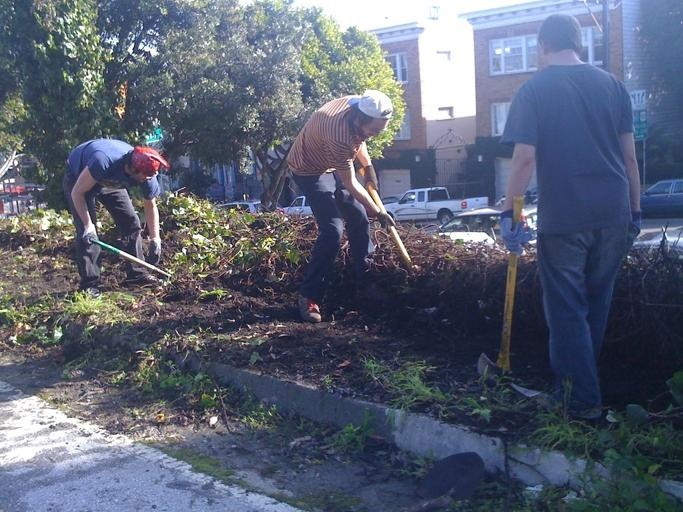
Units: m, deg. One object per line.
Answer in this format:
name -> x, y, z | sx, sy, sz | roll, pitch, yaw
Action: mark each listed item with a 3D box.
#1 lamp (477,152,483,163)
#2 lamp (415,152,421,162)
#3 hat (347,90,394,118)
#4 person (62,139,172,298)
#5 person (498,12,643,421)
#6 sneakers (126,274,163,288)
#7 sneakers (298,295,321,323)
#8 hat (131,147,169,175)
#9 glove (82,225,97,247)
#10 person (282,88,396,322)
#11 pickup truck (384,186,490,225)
lamp -> 6.218, -4.369, 28.774 | 0.271, 0.424, 0.286 | 2, -6, -37
lamp -> 3.746, -4.791, 31.410 | 0.289, 0.322, 0.292 | -3, -28, 6
hat -> 0.259, -1.349, 5.779 | 0.375, 0.279, 0.418 | -5, 10, 1
person -> -2.475, -0.430, 7.040 | 1.338, 1.809, 0.887 | 15, 21, 18
person -> 1.632, -0.325, 4.609 | 0.754, 2.760, 0.851 | 3, 12, 42
sneakers -> -2.215, 0.267, 7.139 | 0.470, 0.205, 0.168 | 0, 4, 6
sneakers -> -0.317, 0.532, 5.995 | 0.215, 0.182, 0.056 | 32, -50, -33
hat -> -1.978, -0.960, 6.570 | 0.357, 0.309, 0.322 | -9, 10, -22
glove -> -2.658, -0.217, 6.730 | 0.128, 0.214, 0.271 | -9, 10, -23
person -> 0.003, -0.471, 6.113 | 0.983, 2.061, 0.865 | -5, 9, -2
pickup truck -> 3.969, -1.721, 24.529 | 4.215, 1.931, 2.244 | 5, 10, 38
